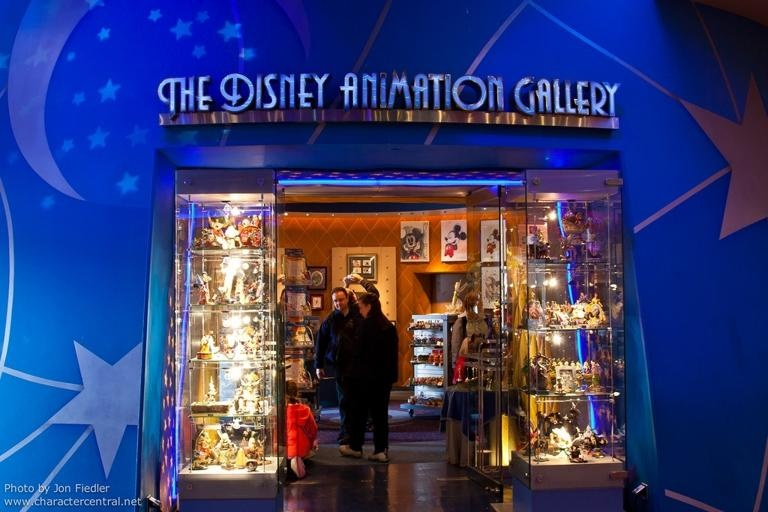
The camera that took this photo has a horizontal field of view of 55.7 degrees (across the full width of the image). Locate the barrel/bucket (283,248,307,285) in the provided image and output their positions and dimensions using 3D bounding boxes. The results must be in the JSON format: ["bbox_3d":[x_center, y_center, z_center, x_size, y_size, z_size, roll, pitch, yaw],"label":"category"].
[{"bbox_3d":[-1.176,0.144,9.374,0.333,0.546,0.305,-3,-13,-1],"label":"barrel/bucket"}]

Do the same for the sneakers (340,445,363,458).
[{"bbox_3d":[-0.406,2.374,8.799,0.284,0.131,0.114,6,3,29],"label":"sneakers"}]

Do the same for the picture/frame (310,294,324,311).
[{"bbox_3d":[-1.190,0.811,12.989,0.305,0.335,0.025,1,2,3],"label":"picture/frame"}]

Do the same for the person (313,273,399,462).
[{"bbox_3d":[-0.315,1.302,8.718,0.942,2.220,0.615,-5,-13,28],"label":"person"}]

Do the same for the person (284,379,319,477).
[{"bbox_3d":[-0.968,1.992,8.396,0.326,1.073,0.776,1,-12,-1],"label":"person"}]

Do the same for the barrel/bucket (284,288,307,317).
[{"bbox_3d":[-1.111,0.566,8.882,0.197,0.378,0.506,-3,-12,18],"label":"barrel/bucket"}]

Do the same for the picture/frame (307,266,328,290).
[{"bbox_3d":[-1.137,0.369,12.349,0.411,0.453,0.050,5,-13,-33],"label":"picture/frame"}]

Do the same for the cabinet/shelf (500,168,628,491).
[{"bbox_3d":[1.813,0.822,7.601,1.462,3.436,1.428,-2,-1,-12],"label":"cabinet/shelf"}]

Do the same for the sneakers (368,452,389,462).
[{"bbox_3d":[-0.063,2.380,8.617,0.266,0.110,0.159,-2,-12,14],"label":"sneakers"}]

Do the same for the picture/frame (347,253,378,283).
[{"bbox_3d":[-0.334,0.207,12.315,0.536,0.521,0.052,0,-3,1],"label":"picture/frame"}]

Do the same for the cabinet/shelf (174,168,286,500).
[{"bbox_3d":[-1.501,0.771,6.910,1.032,3.175,0.485,0,-12,5],"label":"cabinet/shelf"}]
